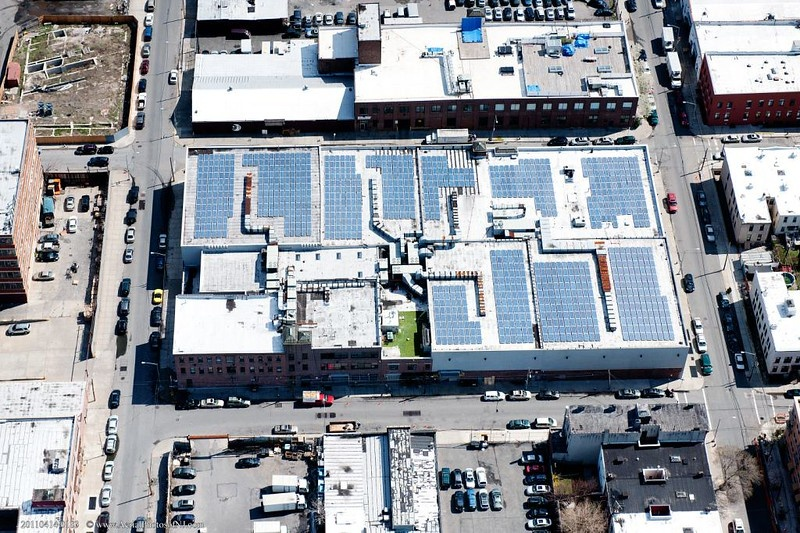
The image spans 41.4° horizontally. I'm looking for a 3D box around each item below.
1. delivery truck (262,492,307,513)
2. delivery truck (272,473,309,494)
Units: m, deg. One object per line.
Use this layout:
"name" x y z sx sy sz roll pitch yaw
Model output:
"delivery truck" -33.105 64.989 297.607 13.093 6.597 5.411 -2 63 -4
"delivery truck" -31.028 60.453 298.222 10.598 4.258 4.845 3 76 -11
